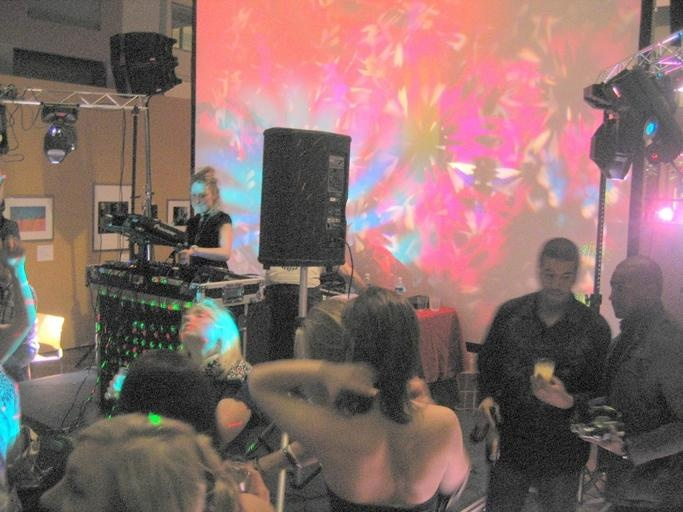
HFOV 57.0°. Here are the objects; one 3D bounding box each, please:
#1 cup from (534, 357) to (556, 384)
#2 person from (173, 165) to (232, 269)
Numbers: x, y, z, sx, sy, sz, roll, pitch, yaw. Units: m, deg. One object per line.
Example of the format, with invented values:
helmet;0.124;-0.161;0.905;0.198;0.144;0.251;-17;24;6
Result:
cup;1.081;0.613;3.354;0.096;0.082;0.112;4;4;10
person;-1.131;-0.318;5.191;0.431;0.827;0.610;0;2;-11
